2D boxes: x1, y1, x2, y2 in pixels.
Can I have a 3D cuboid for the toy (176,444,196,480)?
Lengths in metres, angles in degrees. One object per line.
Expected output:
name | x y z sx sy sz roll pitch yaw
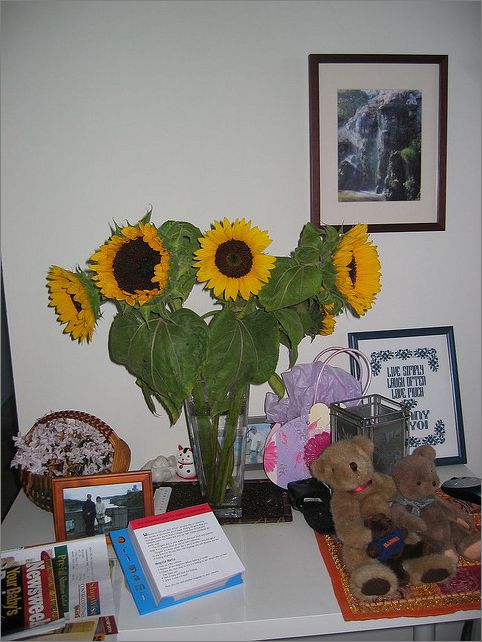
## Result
toy | -0.108 0.324 1.200 0.061 0.072 0.071 0 -16 3

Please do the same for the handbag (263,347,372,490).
handbag | 0.153 0.210 1.171 0.293 0.303 0.106 -4 22 -32

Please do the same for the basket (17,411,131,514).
basket | -0.341 0.271 1.102 0.217 0.215 0.087 2 -36 -7

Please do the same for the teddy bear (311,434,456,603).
teddy bear | 0.214 0.307 0.877 0.146 0.213 0.189 -26 25 0

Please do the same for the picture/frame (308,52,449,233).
picture/frame | 0.298 -0.418 1.191 0.426 0.520 0.035 -1 7 -7

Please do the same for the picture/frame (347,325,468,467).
picture/frame | 0.366 0.170 1.190 0.302 0.374 0.024 -4 -6 -10

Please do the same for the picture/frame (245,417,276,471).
picture/frame | 0.038 0.298 1.266 0.088 0.118 0.006 6 -8 -34

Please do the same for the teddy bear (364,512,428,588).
teddy bear | 0.253 0.359 0.864 0.107 0.040 0.108 0 21 2

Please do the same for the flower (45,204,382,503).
flower | -0.053 0.071 0.925 0.534 0.515 0.197 -1 9 -14

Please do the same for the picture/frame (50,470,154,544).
picture/frame | -0.254 0.344 0.973 0.124 0.093 0.005 -5 5 -11
